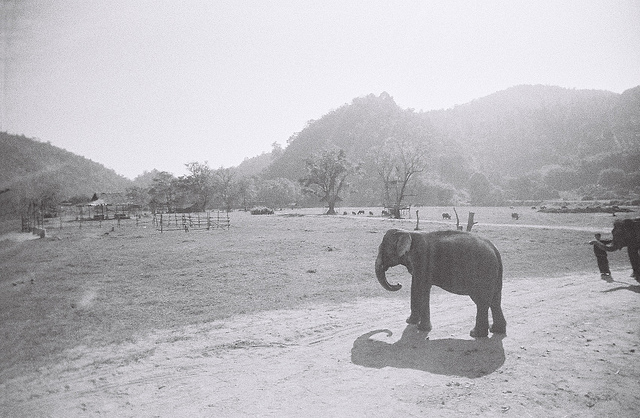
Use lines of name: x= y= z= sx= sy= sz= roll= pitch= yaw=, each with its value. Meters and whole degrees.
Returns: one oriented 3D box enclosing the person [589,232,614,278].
person: x=11.389 y=1.933 z=18.871 sx=1.467 sy=1.547 sz=0.448 roll=-8 pitch=17 yaw=26
